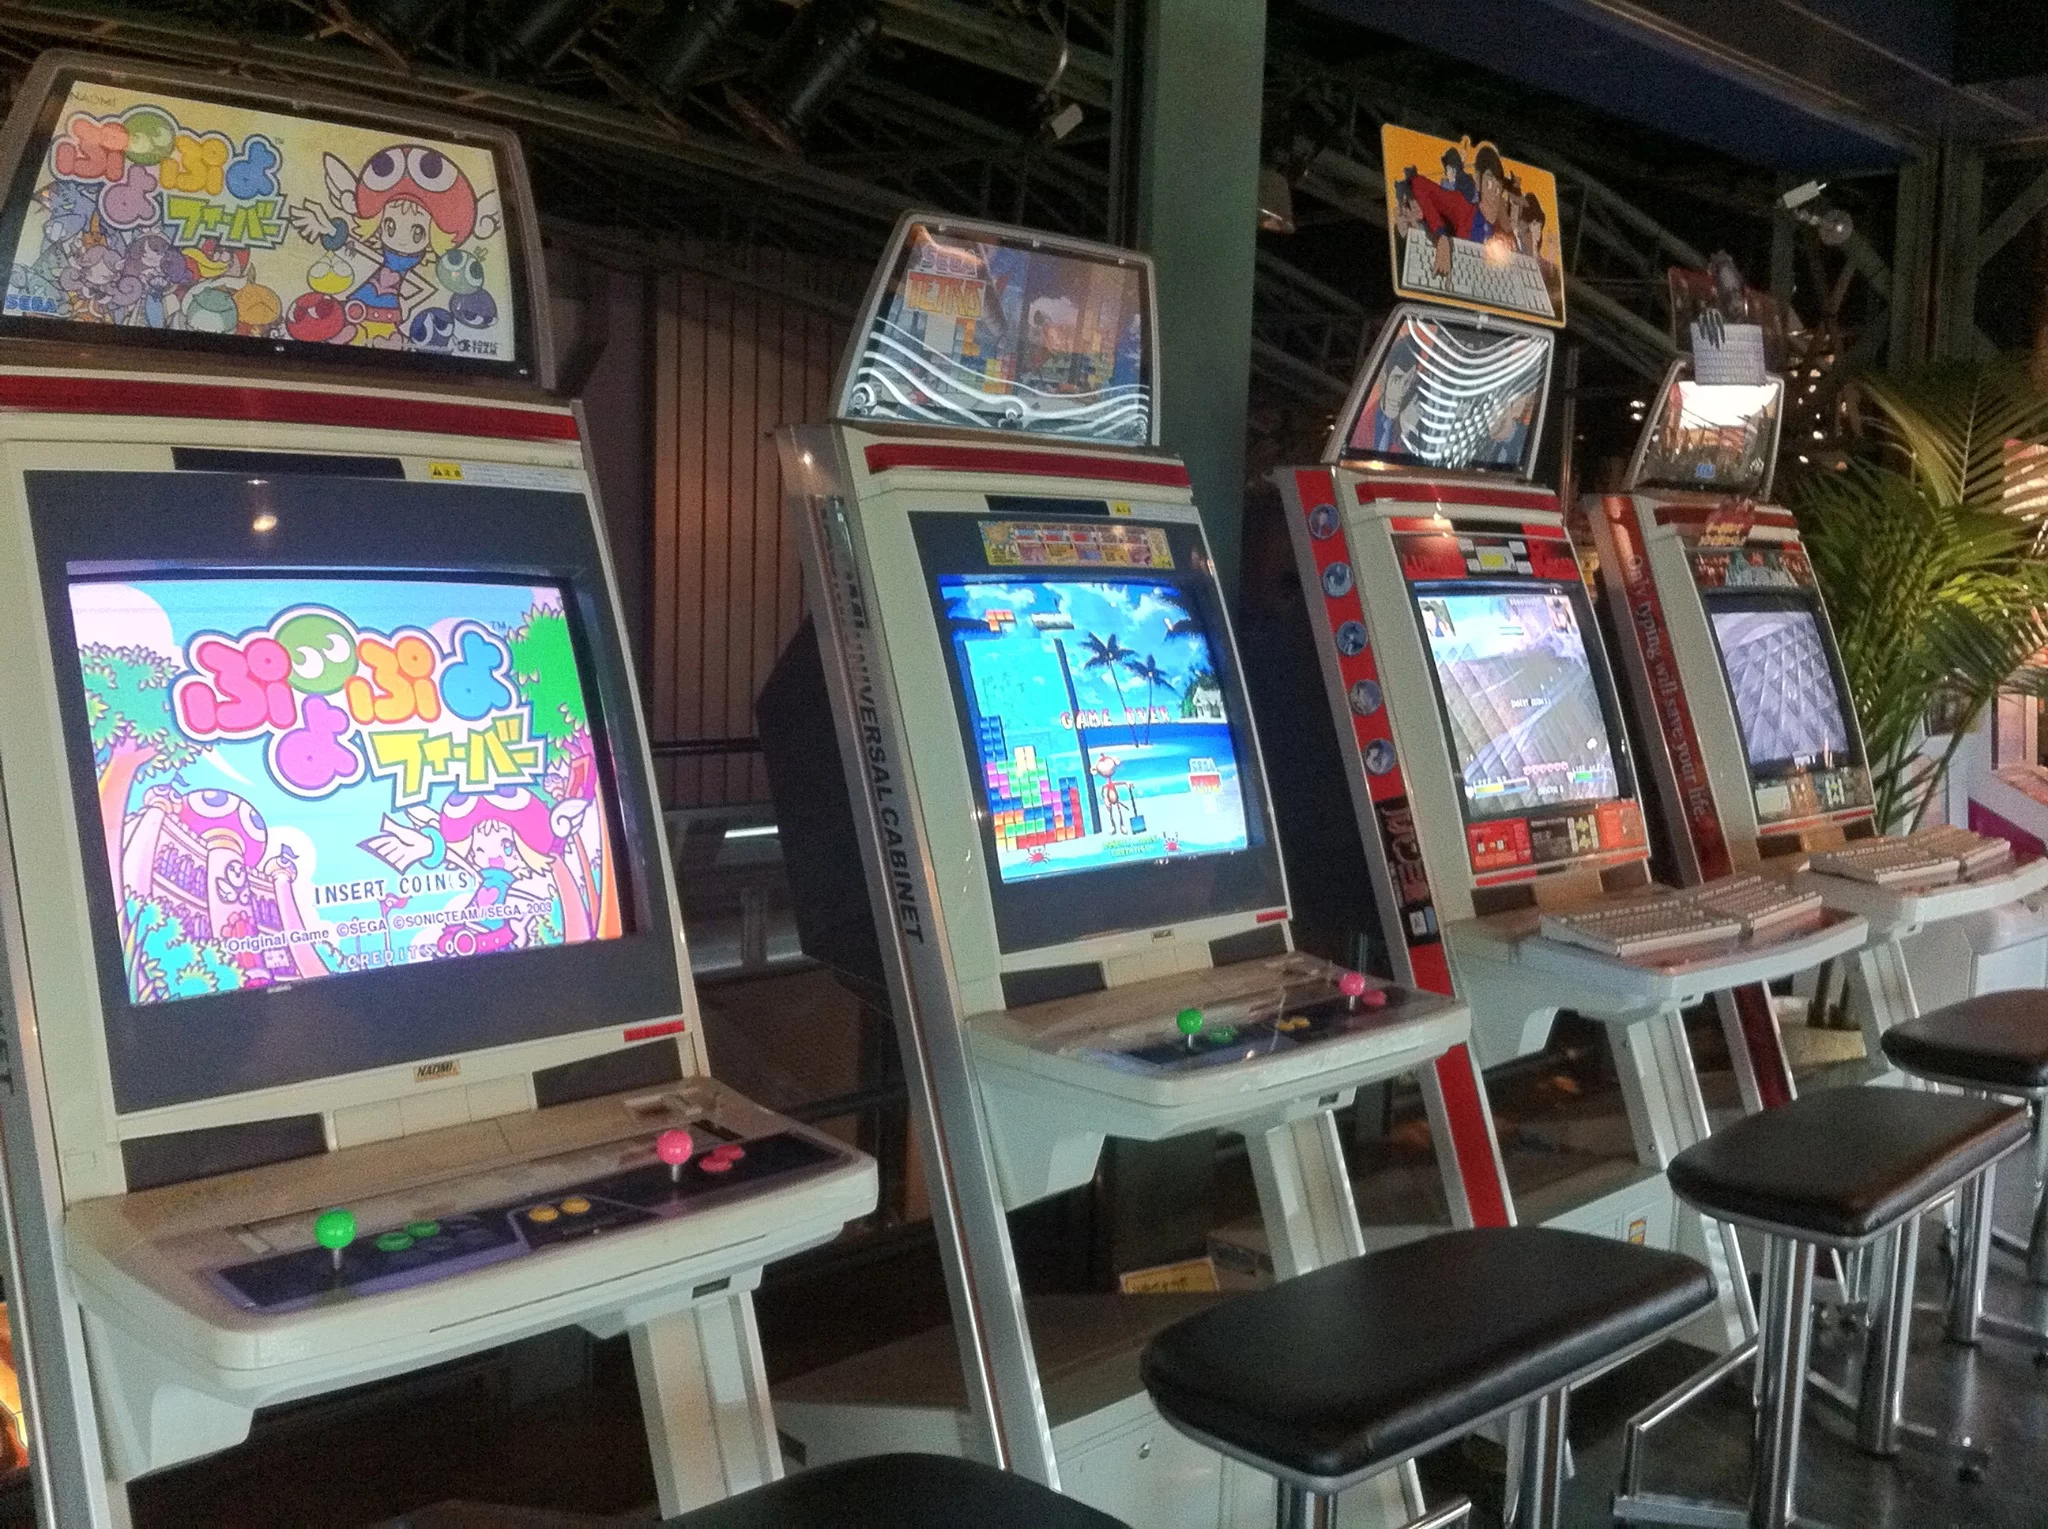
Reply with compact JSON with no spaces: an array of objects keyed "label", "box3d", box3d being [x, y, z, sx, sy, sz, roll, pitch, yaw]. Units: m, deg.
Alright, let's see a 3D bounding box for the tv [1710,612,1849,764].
[{"label":"tv","box3d":[1.923,-0.201,3.827,0.471,0.403,0.108,-6,-4,-37]}]
